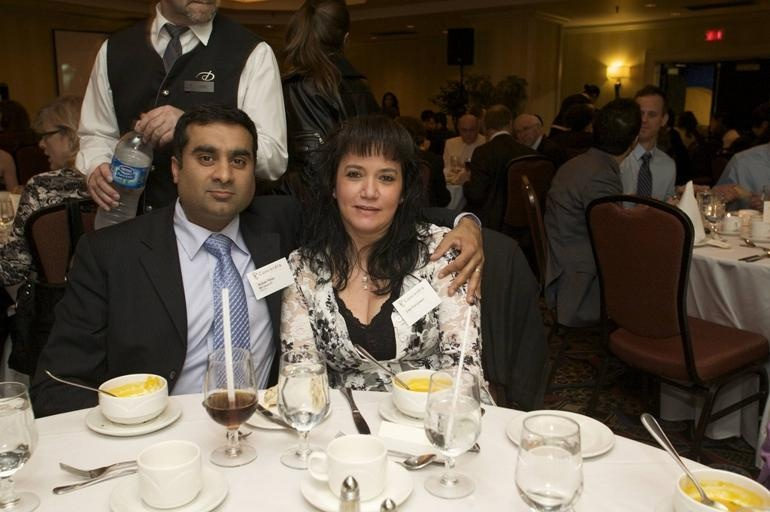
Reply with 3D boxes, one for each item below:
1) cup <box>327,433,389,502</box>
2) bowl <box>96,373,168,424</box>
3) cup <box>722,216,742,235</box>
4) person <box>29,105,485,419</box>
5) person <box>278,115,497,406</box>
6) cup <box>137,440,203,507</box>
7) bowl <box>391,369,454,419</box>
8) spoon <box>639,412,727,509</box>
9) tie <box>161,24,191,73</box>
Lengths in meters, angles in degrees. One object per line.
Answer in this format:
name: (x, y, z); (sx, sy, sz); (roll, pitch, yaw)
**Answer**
cup: (-0.062, 0.509, 1.382); (0.157, 0.105, 0.123); (6, 11, 40)
bowl: (-0.738, 0.420, 1.667); (0.147, 0.087, 0.153); (0, 2, 0)
cup: (2.290, -0.196, 3.725); (0.118, 0.099, 0.120); (-1, 1, 0)
person: (-0.517, 0.033, 2.192); (1.114, 1.407, 0.468); (-16, 19, -26)
person: (-0.030, 0.003, 2.552); (0.977, 1.448, 0.987); (-2, 3, 0)
cup: (-0.511, 0.527, 1.389); (0.151, 0.120, 0.155); (2, 2, 0)
bowl: (0.103, 0.405, 1.653); (0.149, 0.094, 0.157); (-1, 3, 0)
spoon: (0.735, 0.492, 1.432); (0.065, 0.045, 0.321); (-28, 52, 5)
tie: (-0.938, -0.932, 2.526); (0.107, 0.205, 0.089); (-1, 16, -5)
